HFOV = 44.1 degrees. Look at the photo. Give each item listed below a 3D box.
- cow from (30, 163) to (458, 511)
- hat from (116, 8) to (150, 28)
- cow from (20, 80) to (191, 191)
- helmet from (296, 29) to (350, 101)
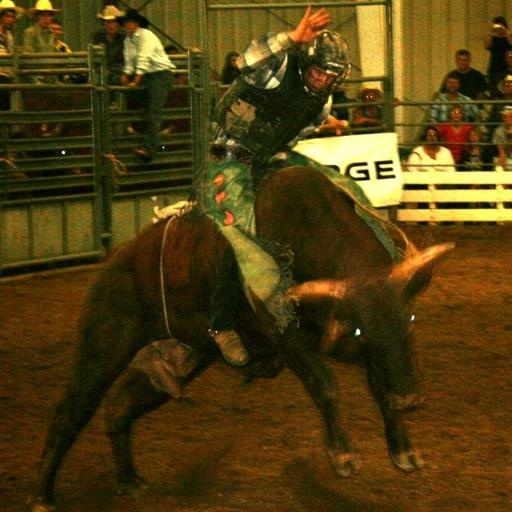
[{"bbox_3d":[-0.070,0.357,2.800,1.775,1.488,0.708,1,11,18],"label":"cow"},{"bbox_3d":[-1.443,-2.813,7.449,0.341,0.097,0.313,6,6,-15],"label":"hat"},{"bbox_3d":[-1.670,-1.393,7.596,1.826,0.786,1.518,0,7,9],"label":"cow"},{"bbox_3d":[0.299,-0.846,2.770,0.205,0.255,0.196,-5,10,-14],"label":"helmet"}]
